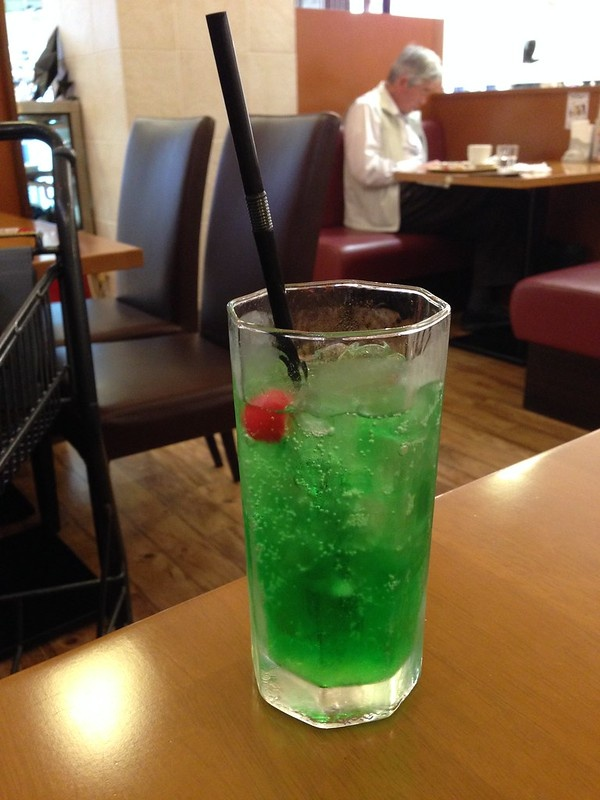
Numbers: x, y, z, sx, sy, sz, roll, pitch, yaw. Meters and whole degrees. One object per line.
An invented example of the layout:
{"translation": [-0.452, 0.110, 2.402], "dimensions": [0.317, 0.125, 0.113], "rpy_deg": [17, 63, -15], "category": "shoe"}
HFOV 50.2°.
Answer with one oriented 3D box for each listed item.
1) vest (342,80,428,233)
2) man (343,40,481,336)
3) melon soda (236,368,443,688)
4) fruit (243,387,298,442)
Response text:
{"translation": [0.478, -1.355, 3.616], "dimensions": [0.434, 0.765, 0.630], "rpy_deg": [16, 39, 23], "category": "vest"}
{"translation": [0.712, -1.255, 3.752], "dimensions": [0.902, 1.448, 0.680], "rpy_deg": [7, 21, 24], "category": "man"}
{"translation": [0.020, 0.061, 0.315], "dimensions": [0.097, 0.152, 0.074], "rpy_deg": [-1, 26, 5], "category": "melon soda"}
{"translation": [-0.014, 0.003, 0.299], "dimensions": [0.023, 0.018, 0.025], "rpy_deg": [-7, 22, -10], "category": "fruit"}
